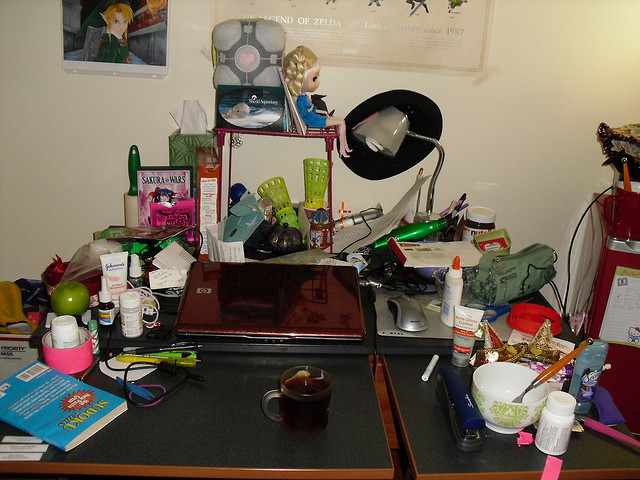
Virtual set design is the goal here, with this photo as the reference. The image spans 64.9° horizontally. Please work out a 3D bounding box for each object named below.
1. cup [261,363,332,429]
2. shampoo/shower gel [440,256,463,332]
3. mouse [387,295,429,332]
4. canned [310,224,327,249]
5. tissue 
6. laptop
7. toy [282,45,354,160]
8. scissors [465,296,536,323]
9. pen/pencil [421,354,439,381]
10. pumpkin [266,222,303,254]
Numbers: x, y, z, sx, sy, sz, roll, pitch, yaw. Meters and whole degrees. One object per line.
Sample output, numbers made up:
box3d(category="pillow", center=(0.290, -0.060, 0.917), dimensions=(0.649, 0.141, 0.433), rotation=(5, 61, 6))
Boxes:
box3d(category="cup", center=(-0.052, 0.352, 1.219), dimensions=(0.148, 0.147, 0.177), rotation=(-3, 17, -22))
box3d(category="shampoo/shower gel", center=(0.390, 0.162, 1.490), dimensions=(0.060, 0.195, 0.075), rotation=(4, 28, 4))
box3d(category="mouse", center=(0.266, 0.208, 1.533), dimensions=(0.099, 0.058, 0.181), rotation=(2, 20, -13))
box3d(category="canned", center=(-0.004, -0.013, 1.892), dimensions=(0.077, 0.131, 0.083), rotation=(-3, 14, -15))
box3d(category="tissue ", center=(-0.501, -0.388, 1.975), dimensions=(0.181, 0.326, 0.363), rotation=(-4, 15, -12))
box3d(category="laptop", center=(-0.154, 0.186, 1.449), dimensions=(0.419, 0.037, 0.338), rotation=(5, 21, -10))
box3d(category="toy", center=(-0.002, -0.499, 1.866), dimensions=(0.136, 0.401, 0.298), rotation=(11, 19, 41))
box3d(category="scissors", center=(0.528, 0.213, 1.572), dimensions=(0.158, 0.024, 0.084), rotation=(-8, 17, -21))
box3d(category="pen/pencil", center=(0.296, 0.348, 1.356), dimensions=(0.021, 0.025, 0.119), rotation=(-42, -2, 23))
box3d(category="pumpkin", center=(-0.128, -0.004, 1.820), dimensions=(0.129, 0.087, 0.114), rotation=(-2, 14, -3))
